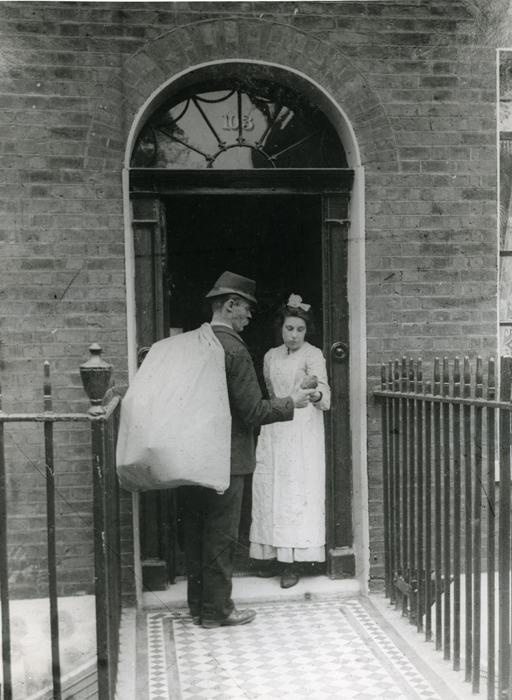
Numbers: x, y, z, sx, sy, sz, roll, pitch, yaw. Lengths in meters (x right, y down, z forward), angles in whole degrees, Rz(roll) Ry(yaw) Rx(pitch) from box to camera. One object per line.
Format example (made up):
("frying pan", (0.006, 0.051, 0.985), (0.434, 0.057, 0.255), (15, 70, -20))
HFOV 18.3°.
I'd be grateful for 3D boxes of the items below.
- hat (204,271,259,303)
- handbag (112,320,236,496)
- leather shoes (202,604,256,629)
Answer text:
("hat", (-0.100, -0.322, 7.919), (0.179, 0.111, 0.160), (8, 5, -9))
("handbag", (-0.395, 0.287, 7.564), (0.549, 0.507, 0.393), (-2, 1, -6))
("leather shoes", (-0.128, 1.291, 7.930), (0.266, 0.138, 0.105), (-6, 2, -20))
